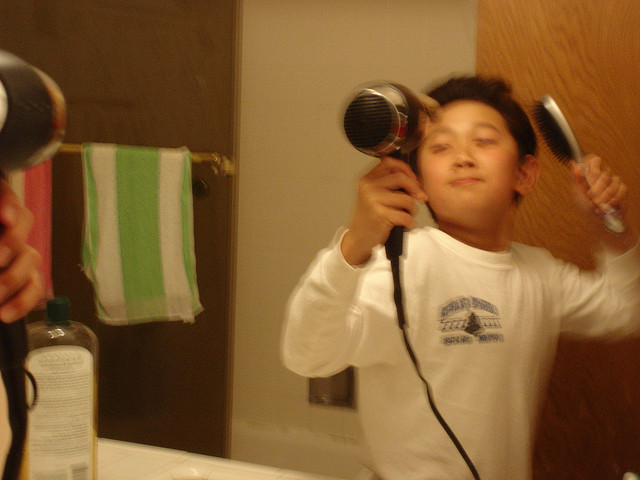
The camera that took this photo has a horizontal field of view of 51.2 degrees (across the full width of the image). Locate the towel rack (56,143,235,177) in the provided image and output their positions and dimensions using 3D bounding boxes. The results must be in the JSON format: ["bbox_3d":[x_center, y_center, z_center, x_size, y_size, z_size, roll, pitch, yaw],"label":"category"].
[{"bbox_3d":[-0.299,-0.144,1.194,0.244,0.041,0.044,5,-4,6],"label":"towel rack"}]

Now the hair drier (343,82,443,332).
[{"bbox_3d":[0.114,-0.061,1.030,0.107,0.345,0.095,0,14,18],"label":"hair drier"}]

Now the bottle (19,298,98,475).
[{"bbox_3d":[-0.455,0.257,1.164,0.118,0.301,0.094,0,5,-22],"label":"bottle"}]

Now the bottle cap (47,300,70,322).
[{"bbox_3d":[-0.459,0.125,1.168,0.036,0.039,0.036,2,3,7],"label":"bottle cap"}]
